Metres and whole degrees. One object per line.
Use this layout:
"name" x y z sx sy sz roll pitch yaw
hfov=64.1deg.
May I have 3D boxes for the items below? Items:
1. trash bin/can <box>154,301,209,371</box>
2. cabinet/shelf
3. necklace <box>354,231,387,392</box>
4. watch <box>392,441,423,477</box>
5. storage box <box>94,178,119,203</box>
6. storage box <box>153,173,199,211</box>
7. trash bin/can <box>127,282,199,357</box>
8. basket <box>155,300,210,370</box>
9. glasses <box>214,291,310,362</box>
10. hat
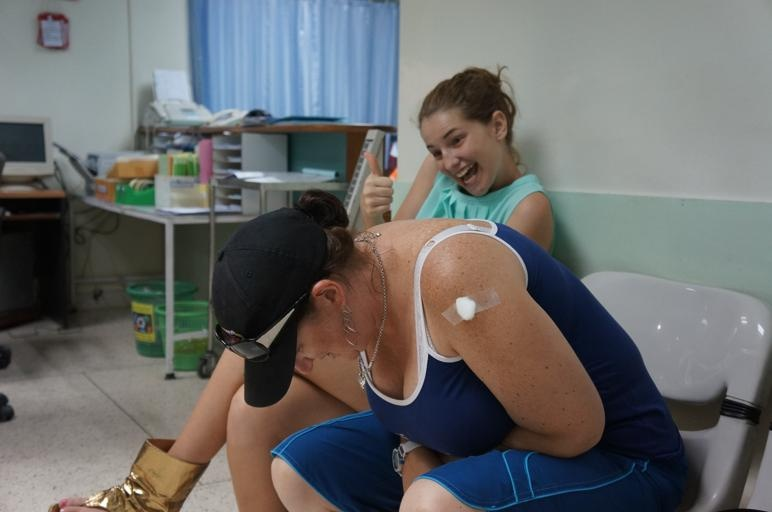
"trash bin/can" -1.129 0.451 3.569 0.349 0.299 0.362 2 10 9
"cabinet/shelf" -0.885 -0.489 3.910 0.453 0.907 0.469 0 6 -19
"necklace" -0.031 0.125 1.430 0.064 0.282 0.193 0 4 -13
"watch" 0.063 0.507 1.527 0.088 0.089 0.055 4 2 -18
"storage box" -1.873 -0.442 4.116 0.097 0.122 0.171 -7 16 -33
"storage box" -1.253 -0.385 3.682 0.247 0.185 0.136 -6 11 -40
"trash bin/can" -1.462 0.337 3.785 0.456 0.430 0.447 7 10 38
"basket" -1.148 0.449 3.571 0.347 0.298 0.360 2 10 4
"glasses" -0.258 0.169 1.317 0.161 0.049 0.151 -48 19 -17
"hat" -0.238 0.087 1.364 0.242 0.392 0.208 3 -21 44
